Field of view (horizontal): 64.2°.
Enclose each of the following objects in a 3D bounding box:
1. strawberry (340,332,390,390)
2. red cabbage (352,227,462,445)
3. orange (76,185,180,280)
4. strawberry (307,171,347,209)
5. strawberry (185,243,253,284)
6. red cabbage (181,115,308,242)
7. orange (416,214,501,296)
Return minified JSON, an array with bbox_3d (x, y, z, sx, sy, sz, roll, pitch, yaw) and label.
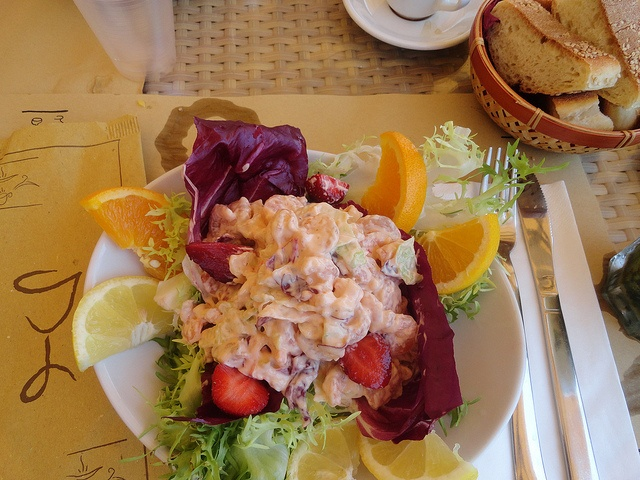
[{"bbox_3d":[0.121,0.311,1.327,0.120,0.039,0.135,-43,91,-12],"label":"strawberry"},{"bbox_3d":[0.247,0.284,1.355,0.305,0.103,0.454,-24,62,28],"label":"red cabbage"},{"bbox_3d":[-0.553,-0.065,1.519,0.271,0.267,0.218,-18,35,-32],"label":"orange"},{"bbox_3d":[0.020,-0.151,1.527,0.080,0.112,0.073,22,101,6],"label":"strawberry"},{"bbox_3d":[-0.275,0.058,1.371,0.181,0.076,0.099,9,78,0],"label":"strawberry"},{"bbox_3d":[-0.216,-0.219,1.535,0.349,0.129,0.350,0,91,-29],"label":"red cabbage"},{"bbox_3d":[0.414,0.030,1.452,0.268,0.094,0.206,-31,72,38],"label":"orange"}]
